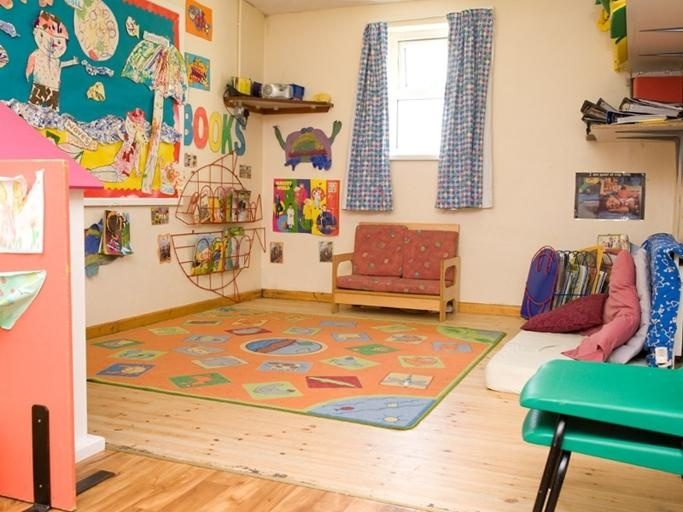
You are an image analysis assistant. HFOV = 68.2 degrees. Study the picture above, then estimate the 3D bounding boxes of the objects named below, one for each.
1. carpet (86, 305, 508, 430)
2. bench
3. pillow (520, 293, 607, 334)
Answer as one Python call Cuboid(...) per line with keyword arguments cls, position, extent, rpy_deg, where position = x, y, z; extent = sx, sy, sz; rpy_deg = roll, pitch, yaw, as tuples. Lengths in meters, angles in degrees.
Cuboid(cls="carpet", position=(-0.334, 0.768, 4.058), extent=(2.979, 0.034, 2.266), rpy_deg=(3, 7, 18))
Cuboid(cls="bench", position=(0.592, 0.150, 5.531), extent=(1.286, 0.881, 0.684), rpy_deg=(4, 12, 30))
Cuboid(cls="pillow", position=(1.731, 0.450, 3.933), extent=(0.595, 0.299, 0.260), rpy_deg=(3, 7, 22))
